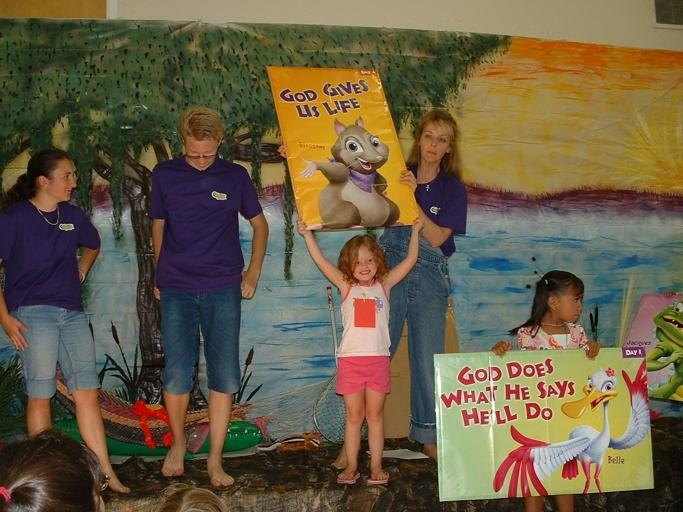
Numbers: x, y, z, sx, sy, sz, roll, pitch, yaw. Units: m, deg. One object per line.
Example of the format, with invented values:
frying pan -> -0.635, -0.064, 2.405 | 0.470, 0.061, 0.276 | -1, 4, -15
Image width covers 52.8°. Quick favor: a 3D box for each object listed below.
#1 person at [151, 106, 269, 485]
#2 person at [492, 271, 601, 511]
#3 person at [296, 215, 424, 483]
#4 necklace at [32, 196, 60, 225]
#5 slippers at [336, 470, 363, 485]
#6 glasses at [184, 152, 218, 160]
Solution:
person -> -0.935, 0.201, 4.496 | 0.732, 2.280, 0.740 | 1, 13, 4
person -> 1.508, 0.931, 5.054 | 0.617, 1.449, 1.253 | 5, 14, 17
person -> 0.134, 0.641, 4.536 | 0.708, 1.572, 0.601 | 1, 13, 2
necklace -> -1.885, -0.292, 4.436 | 0.162, 0.084, 0.130 | 36, 17, 27
slippers -> 0.058, 1.426, 4.462 | 0.163, 0.079, 0.110 | -2, 13, -13
glasses -> -0.939, -0.656, 4.552 | 0.212, 0.040, 0.128 | 0, 13, -2
